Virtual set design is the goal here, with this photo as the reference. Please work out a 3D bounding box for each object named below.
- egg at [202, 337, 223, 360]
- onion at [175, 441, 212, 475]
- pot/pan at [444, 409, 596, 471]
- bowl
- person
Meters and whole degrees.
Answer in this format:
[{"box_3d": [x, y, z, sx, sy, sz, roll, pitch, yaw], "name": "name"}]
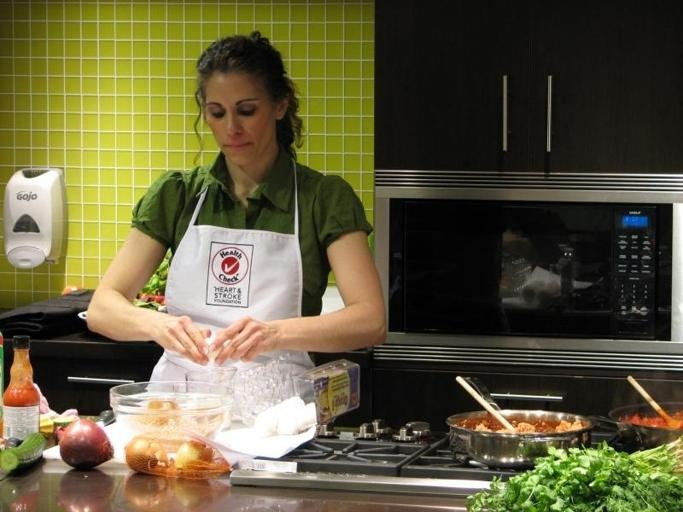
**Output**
[{"box_3d": [-0.304, 0.217, 1.572, 0.043, 0.044, 0.018, -4, 8, -26], "name": "egg"}, {"box_3d": [-0.288, 0.392, 1.310, 0.078, 0.057, 0.059, -11, -31, 3], "name": "onion"}, {"box_3d": [0.386, 0.366, 1.364, 0.273, 0.072, 0.289, -4, 0, -23], "name": "pot/pan"}, {"box_3d": [-0.360, 0.324, 1.398, 0.266, 0.100, 0.135, 0, 1, 10], "name": "bowl"}, {"box_3d": [-0.291, -0.183, 1.840, 0.639, 0.863, 0.554, -1, 1, -35], "name": "person"}]
